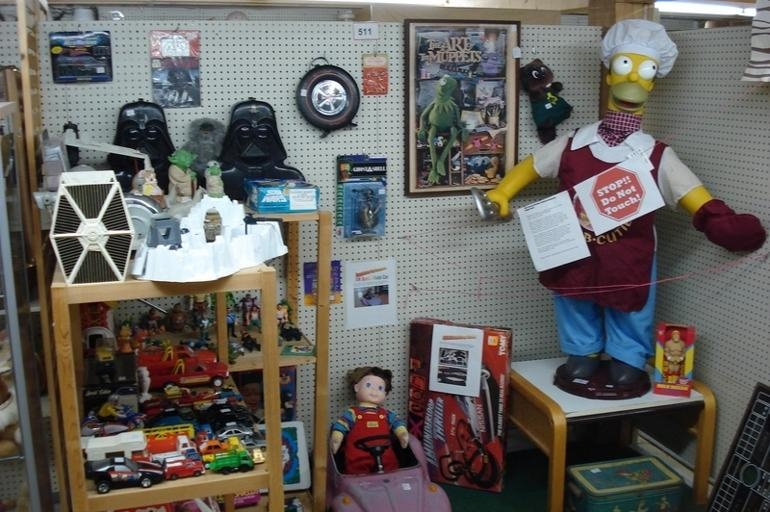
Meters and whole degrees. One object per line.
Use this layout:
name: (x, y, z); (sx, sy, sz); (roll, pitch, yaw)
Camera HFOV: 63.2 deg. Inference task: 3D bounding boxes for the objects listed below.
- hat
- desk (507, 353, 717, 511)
hat: (1.244, -1.013, 3.083); (0.294, 0.286, 0.225); (-8, 14, -12)
desk: (1.073, 0.922, 3.243); (0.751, 0.558, 0.786); (-1, 5, -11)
